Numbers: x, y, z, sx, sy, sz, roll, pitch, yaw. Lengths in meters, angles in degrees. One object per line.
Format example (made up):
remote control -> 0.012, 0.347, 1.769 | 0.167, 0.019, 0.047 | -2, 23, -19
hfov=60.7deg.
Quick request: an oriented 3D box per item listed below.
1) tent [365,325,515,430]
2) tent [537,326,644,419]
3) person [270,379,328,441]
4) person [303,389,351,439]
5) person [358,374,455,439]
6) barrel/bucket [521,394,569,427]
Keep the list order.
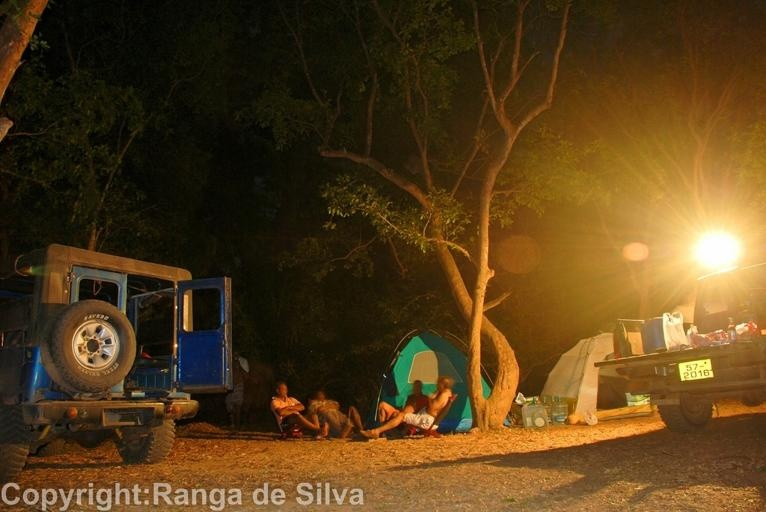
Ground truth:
tent -> 0.814, 3.174, 16.746 | 2.582, 1.658, 2.595 | 8, -14, -35
tent -> 5.135, 3.042, 16.504 | 2.176, 1.924, 2.431 | -5, -7, 17
person -> -2.055, 3.821, 16.077 | 1.659, 1.229, 0.856 | 4, 4, 32
person -> -1.388, 3.926, 16.258 | 0.977, 0.600, 1.350 | 1, 22, -27
person -> 0.601, 3.601, 15.261 | 2.320, 1.454, 1.129 | -2, -26, -2
barrel/bucket -> 3.931, 3.904, 16.421 | 1.298, 0.649, 0.947 | 1, -6, -28
